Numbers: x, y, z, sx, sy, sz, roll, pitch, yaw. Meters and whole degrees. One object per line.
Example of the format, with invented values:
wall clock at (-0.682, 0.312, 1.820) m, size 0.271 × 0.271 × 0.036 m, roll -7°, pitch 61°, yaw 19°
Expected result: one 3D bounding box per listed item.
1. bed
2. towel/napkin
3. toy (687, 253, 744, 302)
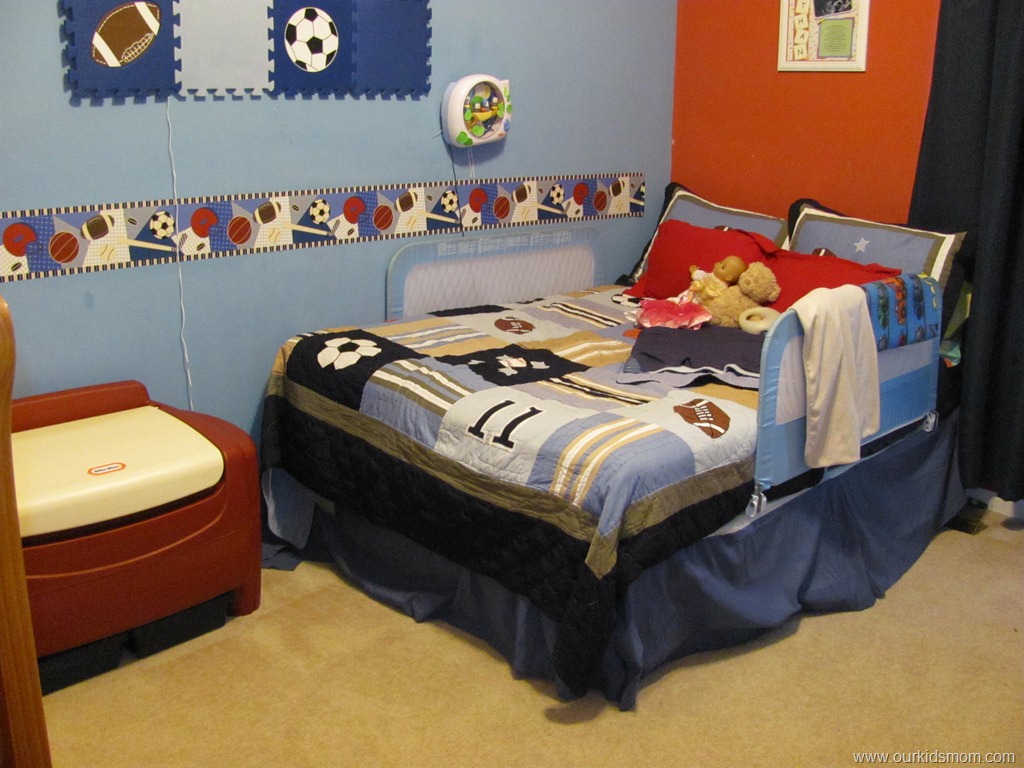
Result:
bed at (0.496, 0.137, 2.803) m, size 1.882 × 1.147 × 1.513 m, roll -16°, pitch 27°, yaw -36°
towel/napkin at (0.944, -0.027, 2.408) m, size 0.367 × 0.566 × 0.170 m, roll -20°, pitch 26°, yaw -36°
toy at (0.763, -0.407, 3.095) m, size 0.200 × 0.094 × 0.152 m, roll -32°, pitch 43°, yaw -19°
